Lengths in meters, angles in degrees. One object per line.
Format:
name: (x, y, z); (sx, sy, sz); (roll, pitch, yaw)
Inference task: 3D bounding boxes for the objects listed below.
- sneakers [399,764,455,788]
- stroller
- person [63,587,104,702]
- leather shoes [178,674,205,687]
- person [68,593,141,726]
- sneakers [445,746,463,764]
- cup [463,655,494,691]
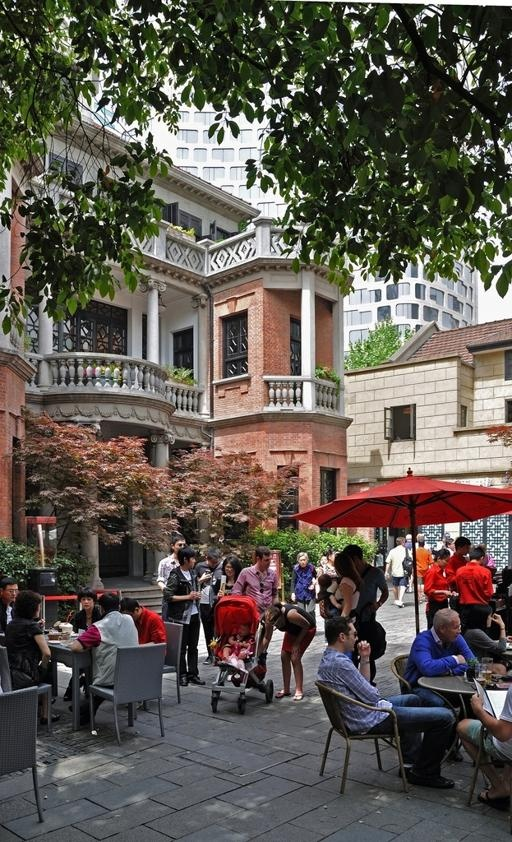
sneakers: (1.356, 2.808, 7.619); (0.379, 0.148, 0.135); (0, -10, 10)
stroller: (-0.219, 2.514, 10.578); (0.886, 1.081, 0.749); (6, -10, -39)
person: (-1.941, 2.483, 10.683); (0.403, 1.223, 0.351); (14, -3, -34)
leather shoes: (-0.807, 3.132, 11.607); (0.346, 0.123, 0.265); (-3, -9, 21)
person: (-1.467, 2.312, 9.379); (0.658, 1.246, 0.627); (5, -3, 15)
sneakers: (1.714, 2.919, 8.384); (0.086, 0.171, 0.253); (-4, -27, 13)
cup: (1.802, 2.080, 8.011); (0.200, 0.289, 0.306); (1, -9, 9)
